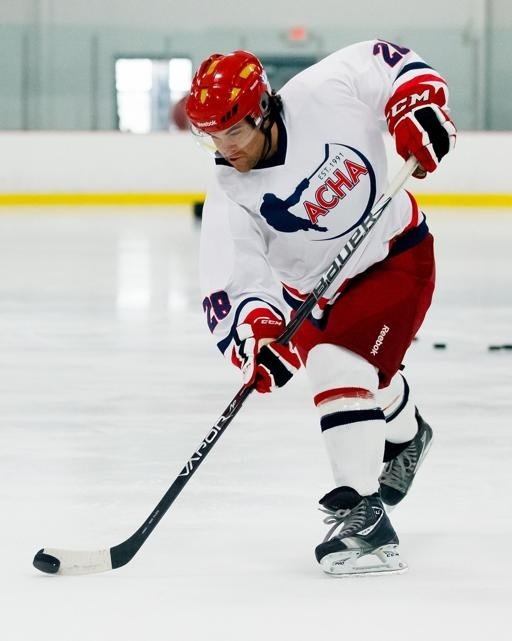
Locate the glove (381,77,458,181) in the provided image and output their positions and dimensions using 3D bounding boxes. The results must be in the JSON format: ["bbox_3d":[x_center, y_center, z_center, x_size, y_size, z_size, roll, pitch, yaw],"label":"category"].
[{"bbox_3d":[0.332,-0.354,1.576,0.090,0.168,0.139,3,-29,-40],"label":"glove"}]

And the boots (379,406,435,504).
[{"bbox_3d":[0.286,0.259,1.675,0.066,0.193,0.082,31,-3,12],"label":"boots"}]

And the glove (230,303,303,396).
[{"bbox_3d":[-0.003,0.049,1.515,0.077,0.145,0.128,-17,-28,26],"label":"glove"}]

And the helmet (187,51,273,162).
[{"bbox_3d":[-0.049,-0.380,1.492,0.136,0.186,0.140,1,11,8],"label":"helmet"}]

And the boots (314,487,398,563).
[{"bbox_3d":[0.153,0.338,1.368,0.175,0.127,0.058,0,-19,-32],"label":"boots"}]
